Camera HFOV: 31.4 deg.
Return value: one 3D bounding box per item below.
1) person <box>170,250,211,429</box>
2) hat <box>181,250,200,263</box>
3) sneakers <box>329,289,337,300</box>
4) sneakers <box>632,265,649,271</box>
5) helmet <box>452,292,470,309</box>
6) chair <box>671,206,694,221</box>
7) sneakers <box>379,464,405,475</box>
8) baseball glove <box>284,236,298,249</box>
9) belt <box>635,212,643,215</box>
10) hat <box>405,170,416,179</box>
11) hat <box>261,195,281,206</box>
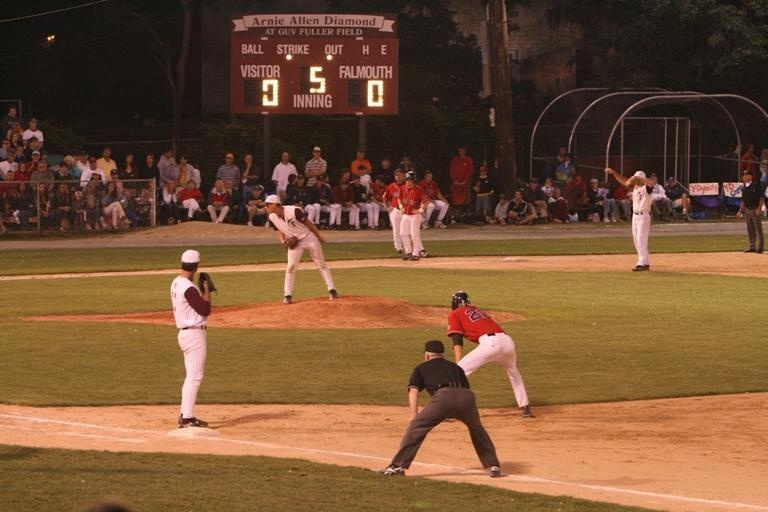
[{"bbox_3d":[-4.399,1.901,31.350,0.882,4.068,0.994,-2,2,-9],"label":"person"},{"bbox_3d":[-4.422,0.043,31.172,0.372,0.194,0.481,-1,13,-7],"label":"hat"},{"bbox_3d":[-1.485,1.129,39.281,0.257,0.264,0.282,1,-6,-7],"label":"sneakers"},{"bbox_3d":[8.485,0.397,45.090,0.595,0.216,0.187,-1,11,-6],"label":"sneakers"},{"bbox_3d":[1.802,1.027,31.247,0.372,0.404,0.433,3,8,-27],"label":"helmet"},{"bbox_3d":[12.863,-1.927,59.047,0.676,0.811,1.010,10,27,21],"label":"chair"},{"bbox_3d":[0.150,4.660,29.401,0.545,0.200,0.187,3,-1,2],"label":"sneakers"},{"bbox_3d":[-2.652,-0.388,39.063,0.383,0.329,0.307,-2,1,-7],"label":"baseball glove"},{"bbox_3d":[8.207,-1.389,43.917,0.268,0.079,0.045,0,2,39],"label":"belt"},{"bbox_3d":[0.897,-2.812,47.079,0.267,0.288,0.731,-1,1,8],"label":"hat"},{"bbox_3d":[-3.189,-1.608,38.882,0.358,0.271,0.395,-1,1,2],"label":"hat"}]
